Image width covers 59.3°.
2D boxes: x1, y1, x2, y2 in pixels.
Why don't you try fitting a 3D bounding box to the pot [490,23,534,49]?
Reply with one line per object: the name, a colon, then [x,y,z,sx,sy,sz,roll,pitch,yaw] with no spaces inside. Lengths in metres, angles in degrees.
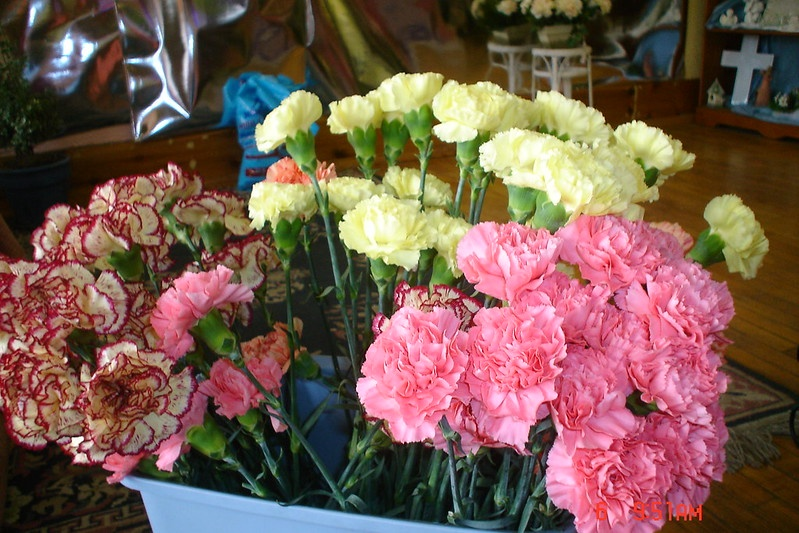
pot: [0.726,-1.451,4.433,0.259,0.124,0.294,-2,30,3]
